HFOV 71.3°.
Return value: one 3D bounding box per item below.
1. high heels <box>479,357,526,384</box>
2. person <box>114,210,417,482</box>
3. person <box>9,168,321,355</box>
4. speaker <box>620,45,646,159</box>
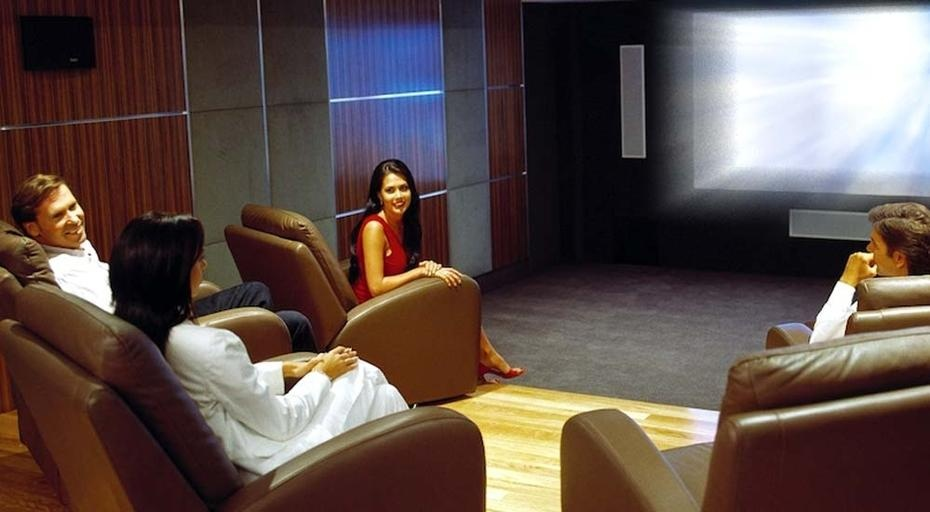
[{"bbox_3d":[0.239,0.852,4.801,0.413,0.162,0.138,-4,4,-1],"label":"high heels"},{"bbox_3d":[-1.066,0.224,3.313,1.289,1.431,1.021,-9,14,-34],"label":"person"},{"bbox_3d":[-1.924,-0.079,4.212,1.539,1.544,1.128,-9,13,-35],"label":"person"},{"bbox_3d":[1.882,-1.719,7.284,0.289,1.239,0.172,0,13,12],"label":"speaker"}]
